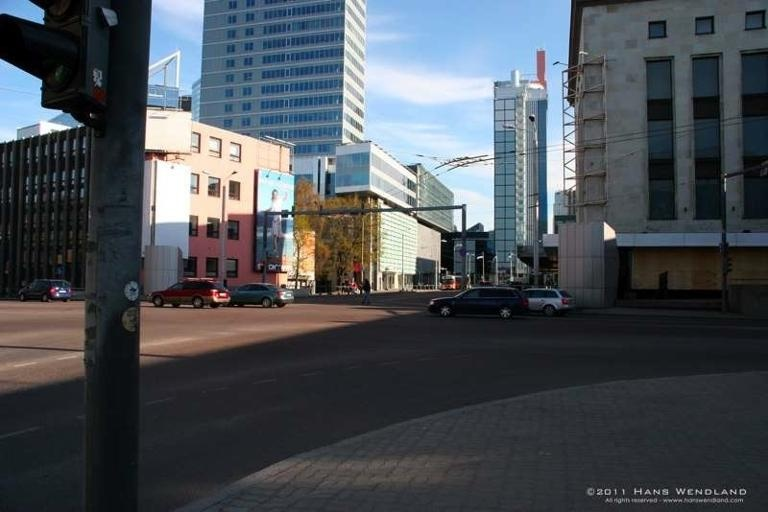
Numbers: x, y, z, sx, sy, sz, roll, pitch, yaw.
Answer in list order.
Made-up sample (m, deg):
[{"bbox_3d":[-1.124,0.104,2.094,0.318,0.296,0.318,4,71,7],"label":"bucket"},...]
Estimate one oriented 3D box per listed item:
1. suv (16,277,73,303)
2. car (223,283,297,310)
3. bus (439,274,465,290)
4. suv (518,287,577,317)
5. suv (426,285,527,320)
[{"bbox_3d":[-22.015,2.258,54.257,3.065,1.236,1.521,3,-1,21],"label":"suv"},{"bbox_3d":[-7.093,2.323,47.999,3.419,1.126,1.471,2,-4,6],"label":"car"},{"bbox_3d":[10.381,4.196,129.298,2.584,2.444,9.076,-3,-7,16],"label":"bus"},{"bbox_3d":[8.325,2.321,42.219,2.595,0.974,1.217,2,-1,27],"label":"suv"},{"bbox_3d":[4.676,2.317,40.168,4.350,1.501,1.031,1,10,9],"label":"suv"}]
